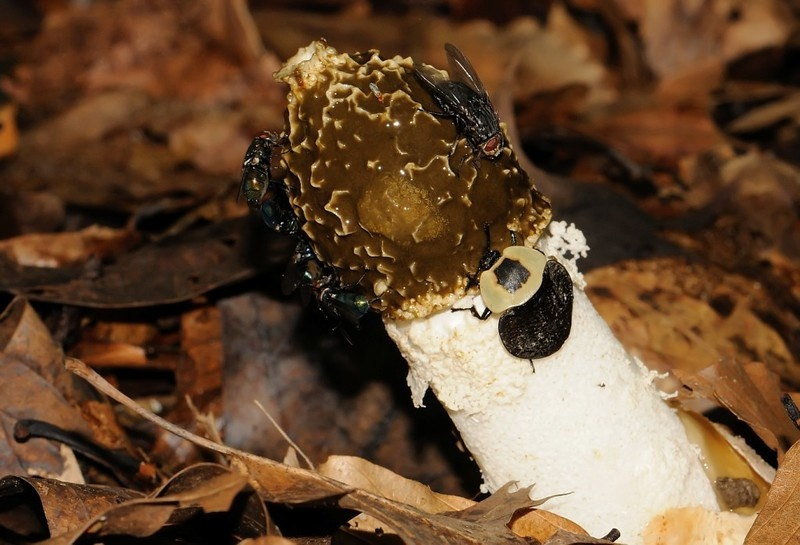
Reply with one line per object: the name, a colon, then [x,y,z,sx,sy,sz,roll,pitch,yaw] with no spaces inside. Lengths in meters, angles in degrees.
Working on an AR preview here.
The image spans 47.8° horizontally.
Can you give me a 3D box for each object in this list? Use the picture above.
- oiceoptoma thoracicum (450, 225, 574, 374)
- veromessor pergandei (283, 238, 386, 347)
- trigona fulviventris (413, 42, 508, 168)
oiceoptoma thoracicum: [0.537,0.134,4.493,0.414,0.636,0.527,-18,29,-36]
veromessor pergandei: [-0.383,0.135,4.715,0.663,0.178,0.464,42,-18,-9]
trigona fulviventris: [0.267,-0.799,4.311,0.322,0.647,0.219,-25,-10,-2]
